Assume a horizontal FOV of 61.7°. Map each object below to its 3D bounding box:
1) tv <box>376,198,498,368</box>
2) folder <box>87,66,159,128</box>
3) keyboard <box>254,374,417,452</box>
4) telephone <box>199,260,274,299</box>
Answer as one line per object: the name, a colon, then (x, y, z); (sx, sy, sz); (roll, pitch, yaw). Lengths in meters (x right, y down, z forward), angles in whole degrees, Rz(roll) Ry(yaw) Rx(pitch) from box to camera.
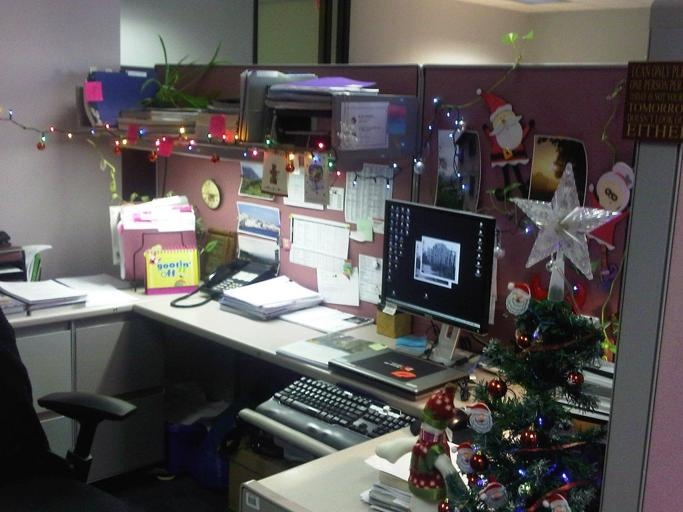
tv: (0.354, 0.089, 2.070); (0.186, 0.616, 0.499); (-10, 15, -43)
folder: (-1.145, -0.828, 2.923); (0.079, 0.356, 0.339); (11, 16, 39)
keyboard: (-0.031, 0.532, 1.943); (0.546, 0.094, 0.228); (12, 18, 40)
telephone: (-0.500, 0.094, 2.796); (0.191, 0.106, 0.262); (18, 31, 35)
